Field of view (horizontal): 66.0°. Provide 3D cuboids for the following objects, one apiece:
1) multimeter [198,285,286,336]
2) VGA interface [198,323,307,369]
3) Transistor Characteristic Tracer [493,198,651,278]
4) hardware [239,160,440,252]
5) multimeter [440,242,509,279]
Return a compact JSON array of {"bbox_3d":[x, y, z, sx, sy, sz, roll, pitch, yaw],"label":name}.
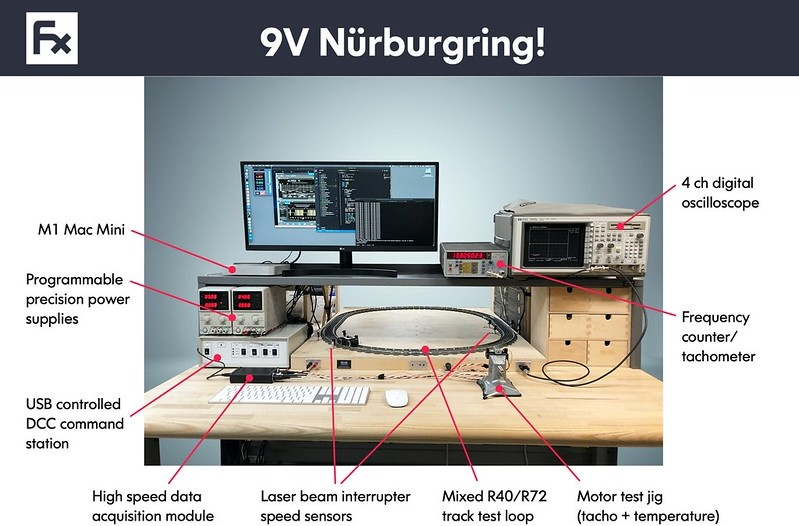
[{"bbox_3d":[-0.943,0.265,3.630,0.352,0.199,0.346,0,1,2],"label":"multimeter"},{"bbox_3d":[-0.857,0.459,3.701,0.582,0.204,0.445,3,7,9],"label":"VGA interface"},{"bbox_3d":[1.006,-0.136,3.601,0.825,0.416,0.272,0,7,-2],"label":"Transistor Characteristic Tracer"},{"bbox_3d":[-0.323,-0.324,3.664,1.185,0.500,0.069,-4,12,-22],"label":"hardware"},{"bbox_3d":[0.439,-0.020,3.748,0.374,0.172,0.473,0,9,-2],"label":"multimeter"}]
